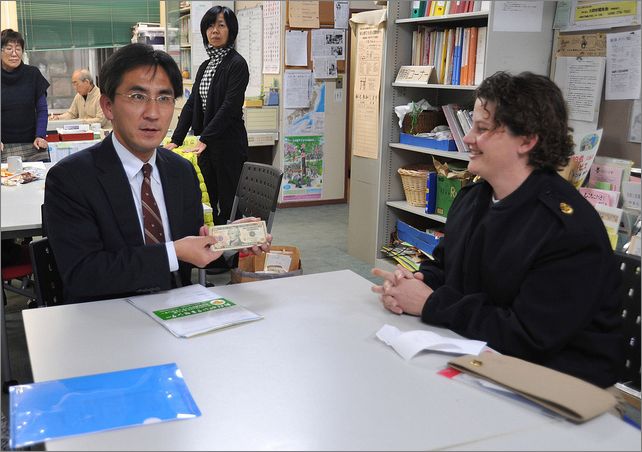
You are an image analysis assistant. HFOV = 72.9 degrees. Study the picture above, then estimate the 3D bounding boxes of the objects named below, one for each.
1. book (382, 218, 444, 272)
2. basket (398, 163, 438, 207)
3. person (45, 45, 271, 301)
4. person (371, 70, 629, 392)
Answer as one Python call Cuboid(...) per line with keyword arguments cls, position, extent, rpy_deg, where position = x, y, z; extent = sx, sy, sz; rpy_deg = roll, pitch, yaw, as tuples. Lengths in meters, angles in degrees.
Cuboid(cls="book", position=(0.897, 0.194, 4.340), extent=(0.561, 0.207, 0.546), rpy_deg=(-4, 11, -43))
Cuboid(cls="basket", position=(0.907, -0.434, 4.256), extent=(0.411, 0.320, 0.409), rpy_deg=(9, 15, 29))
Cuboid(cls="person", position=(-0.830, -0.218, 1.871), extent=(0.677, 1.105, 0.572), rpy_deg=(-4, 18, -13))
Cuboid(cls="person", position=(0.795, 0.223, 1.918), extent=(0.961, 1.572, 0.827), rpy_deg=(1, 13, 23))
